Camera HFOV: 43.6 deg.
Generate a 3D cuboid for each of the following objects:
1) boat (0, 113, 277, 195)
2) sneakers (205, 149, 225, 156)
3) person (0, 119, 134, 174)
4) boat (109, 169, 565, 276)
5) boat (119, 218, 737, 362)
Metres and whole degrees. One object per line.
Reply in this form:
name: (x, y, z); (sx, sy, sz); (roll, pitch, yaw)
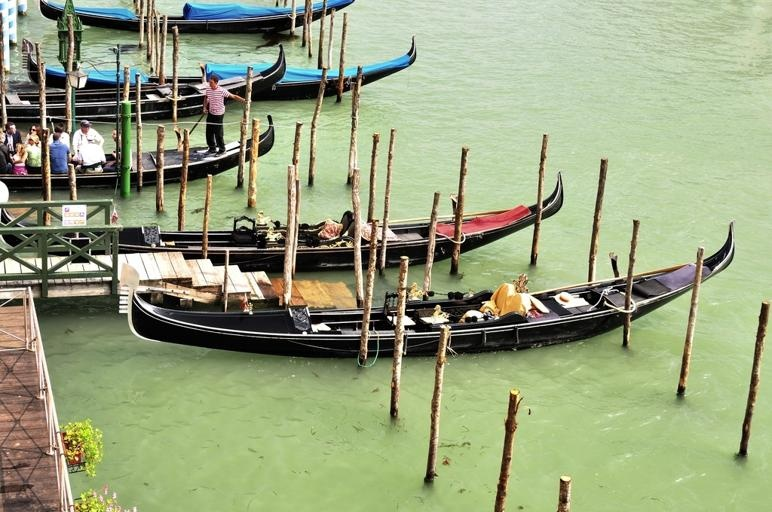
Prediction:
boat: (-7.682, -3.063, 29.401); (9.401, 1.883, 1.419); (-9, 45, -18)
sneakers: (-5.292, -3.237, 30.121); (0.698, 0.238, 0.201); (-4, 29, -3)
person: (-9.235, -3.112, 28.303); (3.273, 1.127, 1.096); (2, 24, 1)
boat: (-1.297, -0.358, 27.200); (12.862, 1.854, 1.528); (-6, 3, -5)
boat: (1.746, 1.127, 24.455); (17.692, 2.513, 2.185); (-2, 40, -28)
